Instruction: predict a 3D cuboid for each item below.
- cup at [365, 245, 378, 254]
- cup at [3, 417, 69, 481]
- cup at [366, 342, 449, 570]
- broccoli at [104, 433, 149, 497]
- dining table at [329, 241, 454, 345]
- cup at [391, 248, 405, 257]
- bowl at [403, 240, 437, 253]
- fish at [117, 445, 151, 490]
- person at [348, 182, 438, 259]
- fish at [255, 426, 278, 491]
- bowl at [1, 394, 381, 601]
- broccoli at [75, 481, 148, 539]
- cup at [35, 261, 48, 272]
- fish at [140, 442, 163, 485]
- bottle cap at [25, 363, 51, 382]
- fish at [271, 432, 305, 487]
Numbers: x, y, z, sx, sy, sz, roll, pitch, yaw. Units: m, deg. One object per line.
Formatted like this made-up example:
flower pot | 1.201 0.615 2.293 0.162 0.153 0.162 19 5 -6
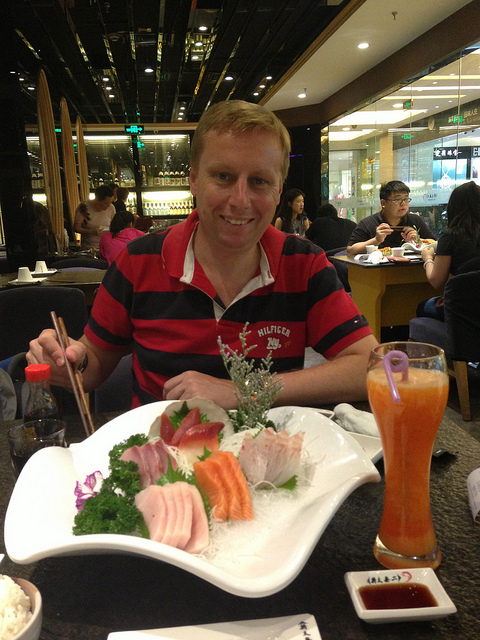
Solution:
cup | 1.283 -0.689 4.453 0.109 0.087 0.116 1 20 0
cup | -0.347 0.217 0.799 0.088 0.107 0.109 0 4 -4
cup | 0.216 0.177 0.588 0.128 0.283 0.127 -2 5 0
broccoli | -0.155 0.197 0.631 0.051 0.021 0.053 -2 35 -37
dining table | 1.468 -0.104 4.740 1.116 1.011 0.838 -5 3 -40
cup | 1.464 -0.625 4.215 0.094 0.071 0.089 1 3 0
bowl | 1.686 -0.700 4.306 0.272 0.094 0.265 1 7 0
fish | -0.147 0.202 0.637 0.040 0.036 0.105 -3 12 -17
person | 1.712 -0.882 5.165 0.981 1.287 0.613 -3 8 -10
fish | 0.047 0.193 0.672 0.016 0.067 0.069 3 41 39
bowl | -0.090 0.230 0.598 0.277 0.059 0.278 0 8 0
broccoli | -0.165 0.237 0.568 0.082 0.043 0.112 -5 13 -25
cup | -1.683 -0.449 3.858 0.103 0.100 0.109 1 5 0
fish | -0.129 0.209 0.644 0.013 0.040 0.038 -24 -12 22
bottle cap | -0.347 0.090 0.784 0.032 0.017 0.031 2 7 -17
fish | 0.086 0.217 0.713 0.074 0.082 0.093 -4 -17 20
